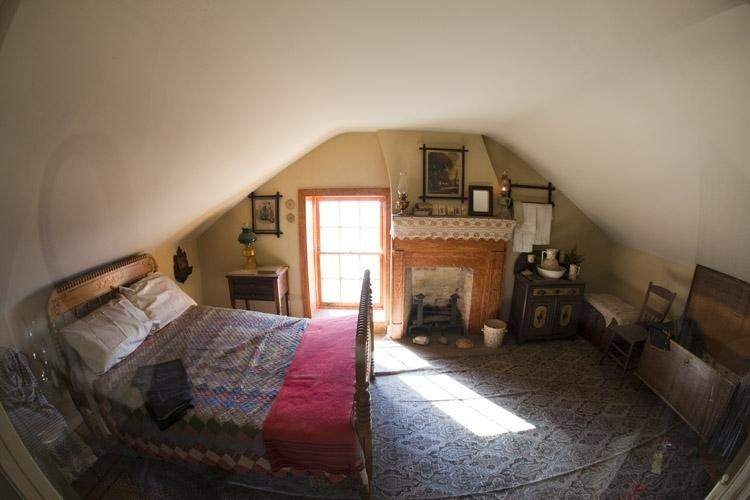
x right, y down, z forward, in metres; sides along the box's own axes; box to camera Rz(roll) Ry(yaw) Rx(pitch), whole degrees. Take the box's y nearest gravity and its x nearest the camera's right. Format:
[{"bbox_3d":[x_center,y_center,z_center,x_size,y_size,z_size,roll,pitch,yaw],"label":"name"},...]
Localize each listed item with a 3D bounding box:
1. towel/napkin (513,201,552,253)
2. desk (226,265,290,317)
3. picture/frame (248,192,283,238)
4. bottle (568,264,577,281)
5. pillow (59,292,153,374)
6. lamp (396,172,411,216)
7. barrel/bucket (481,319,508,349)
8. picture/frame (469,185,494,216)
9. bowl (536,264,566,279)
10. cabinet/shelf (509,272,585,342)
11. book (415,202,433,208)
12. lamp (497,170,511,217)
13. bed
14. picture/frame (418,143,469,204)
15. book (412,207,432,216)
[{"bbox_3d":[1.564,-0.229,4.832,0.420,0.441,0.432,-2,9,0],"label":"towel/napkin"},{"bbox_3d":[-1.183,0.531,5.039,0.513,0.716,0.466,1,16,3],"label":"desk"},{"bbox_3d":[-1.113,-0.378,4.933,0.458,0.573,0.043,2,25,0],"label":"picture/frame"},{"bbox_3d":[1.872,0.211,4.579,0.082,0.160,0.123,3,10,20],"label":"bottle"},{"bbox_3d":[-1.575,0.483,3.035,0.105,0.400,0.443,-36,3,13],"label":"pillow"},{"bbox_3d":[0.272,-0.530,4.563,0.113,0.398,0.223,0,10,2],"label":"lamp"},{"bbox_3d":[1.145,0.800,4.754,0.233,0.207,0.259,1,21,-1],"label":"barrel/bucket"},{"bbox_3d":[1.013,-0.490,4.677,0.285,0.354,0.047,0,4,-6],"label":"picture/frame"},{"bbox_3d":[1.706,0.212,4.705,0.256,0.132,0.172,4,10,23],"label":"bowl"},{"bbox_3d":[1.722,0.538,4.830,0.552,0.677,0.375,-2,25,0],"label":"cabinet/shelf"},{"bbox_3d":[0.468,-0.422,4.608,0.167,0.058,0.111,1,9,4],"label":"book"},{"bbox_3d":[1.278,-0.546,4.748,0.110,0.423,0.199,2,10,12],"label":"lamp"},{"bbox_3d":[-0.898,0.950,3.253,1.769,0.985,1.422,4,31,2],"label":"bed"},{"bbox_3d":[0.641,-0.761,4.650,0.571,0.631,0.052,0,3,-3],"label":"picture/frame"},{"bbox_3d":[0.449,-0.364,4.579,0.173,0.075,0.070,0,9,2],"label":"book"}]
